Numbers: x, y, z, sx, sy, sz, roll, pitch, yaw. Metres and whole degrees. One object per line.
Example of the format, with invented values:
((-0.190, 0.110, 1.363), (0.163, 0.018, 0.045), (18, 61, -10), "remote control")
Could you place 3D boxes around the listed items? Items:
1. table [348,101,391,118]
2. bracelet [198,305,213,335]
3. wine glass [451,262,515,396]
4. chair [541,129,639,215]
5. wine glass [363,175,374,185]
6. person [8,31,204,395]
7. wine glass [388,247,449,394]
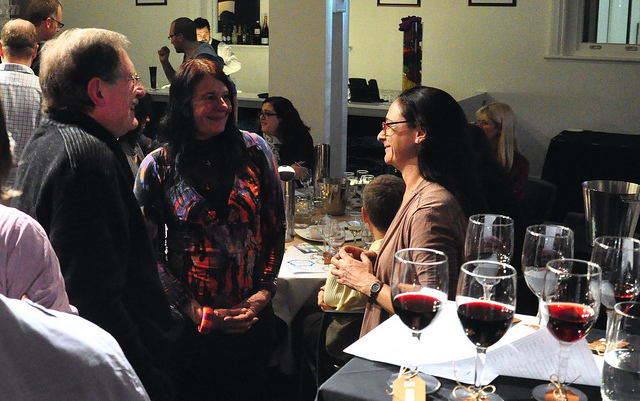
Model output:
((0.502, -0.956, 6.202), (0.497, 0.158, 0.158), (8, 14, 39), "table")
((-0.491, 0.523, 2.605), (0.076, 0.106, 0.041), (4, -1, 38), "bracelet")
((0.513, 0.391, 1.848), (0.178, 0.386, 0.237), (3, 12, 23), "wine glass")
((1.959, -0.209, 4.337), (0.580, 0.565, 0.322), (3, 17, 17), "chair")
((0.321, -0.136, 3.890), (0.064, 0.068, 0.065), (-1, 6, -7), "wine glass")
((-0.839, 0.071, 2.233), (0.549, 1.389, 0.385), (-4, 11, -16), "person")
((0.315, 0.367, 1.893), (0.177, 0.427, 0.205), (1, 11, 13), "wine glass")
